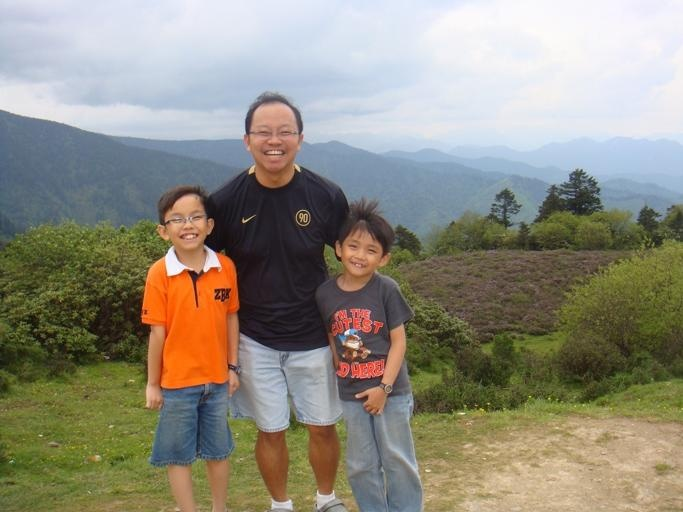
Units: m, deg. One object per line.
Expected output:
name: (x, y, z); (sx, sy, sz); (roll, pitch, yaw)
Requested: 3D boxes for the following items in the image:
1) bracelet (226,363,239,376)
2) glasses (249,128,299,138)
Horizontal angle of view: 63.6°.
bracelet: (-1.369, 1.454, 7.088); (0.155, 0.097, 0.153); (-12, -34, 29)
glasses: (-0.844, -1.548, 7.015); (0.610, 0.097, 0.140); (1, 0, -9)
